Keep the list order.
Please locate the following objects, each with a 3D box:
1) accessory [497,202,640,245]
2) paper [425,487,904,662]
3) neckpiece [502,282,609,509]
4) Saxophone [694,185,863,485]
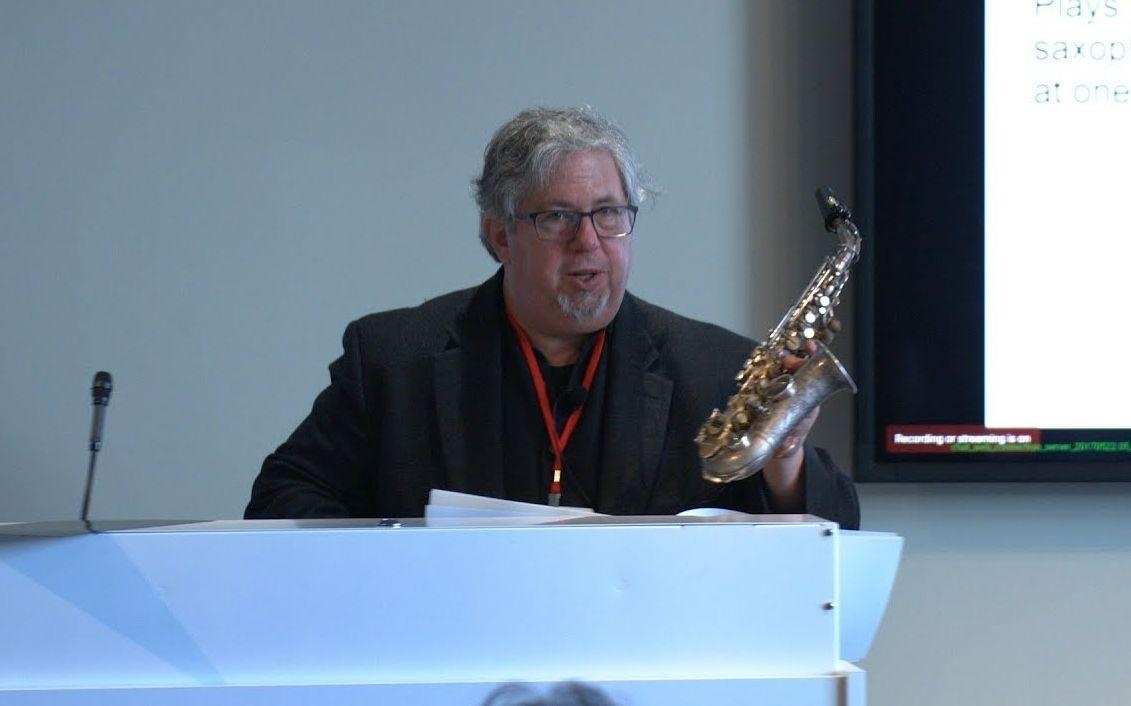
[{"bbox_3d":[0.030,-0.398,4.549,0.365,0.130,0.066,1,-17,0],"label":"accessory"},{"bbox_3d":[0.381,0.522,3.780,0.748,0.304,0.602,3,-6,1],"label":"paper"},{"bbox_3d":[-0.017,0.209,4.614,0.213,0.063,0.695,0,-54,-8],"label":"neckpiece"},{"bbox_3d":[0.628,-0.035,4.418,0.475,0.907,0.364,-2,-18,11],"label":"Saxophone"}]
